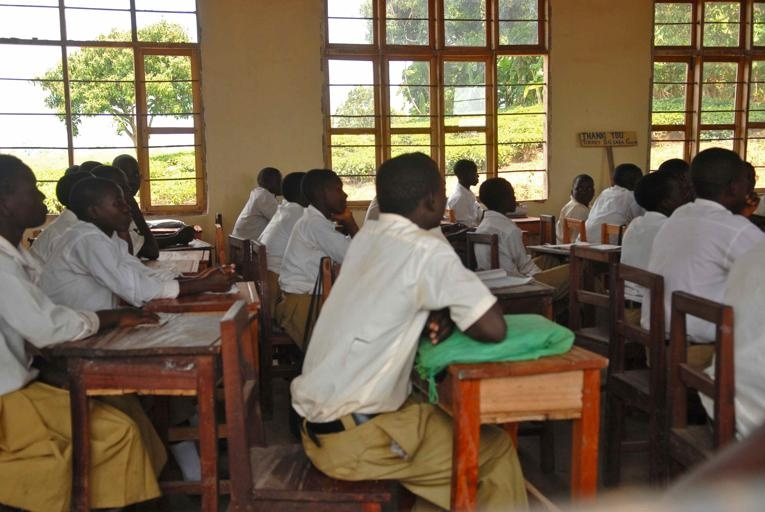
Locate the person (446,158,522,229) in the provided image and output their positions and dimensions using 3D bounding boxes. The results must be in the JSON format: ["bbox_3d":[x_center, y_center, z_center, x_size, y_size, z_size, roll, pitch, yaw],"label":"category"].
[{"bbox_3d":[1.015,-0.670,7.338,0.593,0.803,0.534,3,20,3],"label":"person"}]

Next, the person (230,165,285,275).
[{"bbox_3d":[-1.168,-0.310,6.701,0.507,1.084,0.541,-1,-14,38],"label":"person"}]

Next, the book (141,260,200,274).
[{"bbox_3d":[-1.324,0.064,4.258,0.200,0.047,0.196,2,6,9],"label":"book"}]
